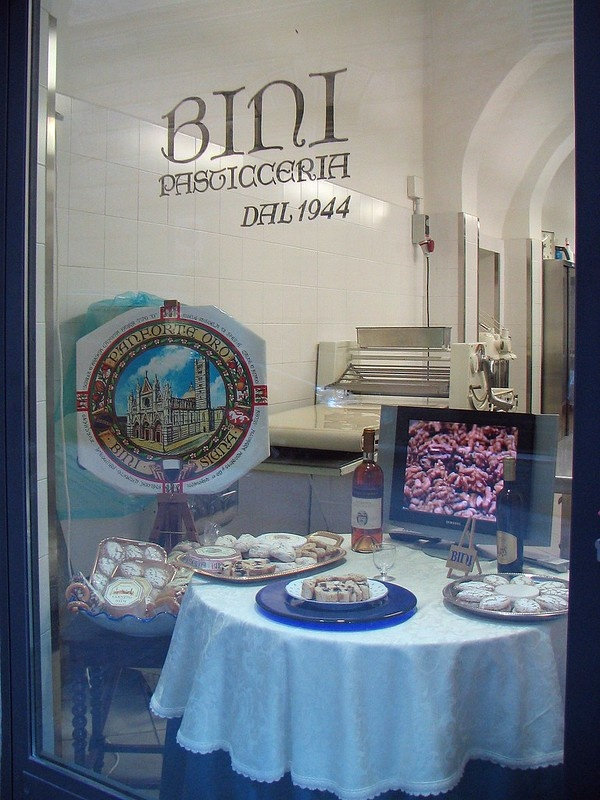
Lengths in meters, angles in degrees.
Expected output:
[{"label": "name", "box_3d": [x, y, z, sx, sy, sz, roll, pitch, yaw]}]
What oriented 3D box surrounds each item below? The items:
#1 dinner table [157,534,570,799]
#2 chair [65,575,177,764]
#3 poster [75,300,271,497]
[{"label": "dinner table", "box_3d": [0.050, 0.449, 1.014, 0.602, 0.310, 0.365, -2, 4, -3]}, {"label": "chair", "box_3d": [-0.398, 0.668, 1.453, 0.187, 0.227, 0.191, -31, -29, 31]}, {"label": "poster", "box_3d": [-0.254, -0.015, 1.399, 0.423, 0.411, 0.010, 2, 3, 19]}]
